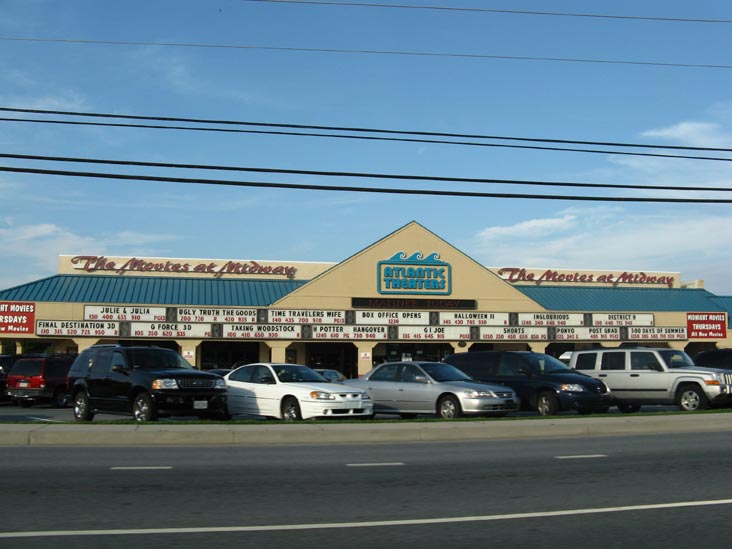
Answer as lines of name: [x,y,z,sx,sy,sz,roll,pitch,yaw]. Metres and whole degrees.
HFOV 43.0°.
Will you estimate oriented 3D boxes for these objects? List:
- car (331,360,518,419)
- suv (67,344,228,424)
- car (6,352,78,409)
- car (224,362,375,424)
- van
car: [1.573,3.141,25.334,4.521,1.013,1.860,-6,-8,38]
suv: [-5.859,2.784,23.952,3.674,1.917,1.774,-7,-10,37]
car: [-11.921,3.872,33.769,2.287,1.806,0.934,-4,-10,23]
car: [-1.875,3.059,24.333,3.484,1.439,1.446,-7,-10,40]
van: [4.707,3.022,26.721,4.084,1.043,1.940,-4,-6,41]
